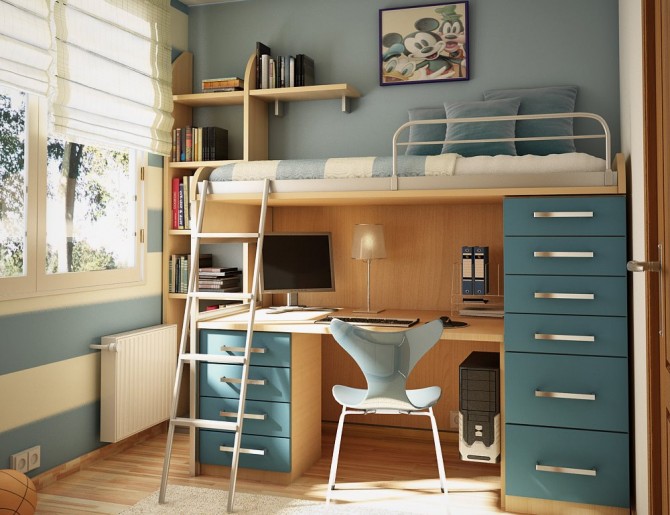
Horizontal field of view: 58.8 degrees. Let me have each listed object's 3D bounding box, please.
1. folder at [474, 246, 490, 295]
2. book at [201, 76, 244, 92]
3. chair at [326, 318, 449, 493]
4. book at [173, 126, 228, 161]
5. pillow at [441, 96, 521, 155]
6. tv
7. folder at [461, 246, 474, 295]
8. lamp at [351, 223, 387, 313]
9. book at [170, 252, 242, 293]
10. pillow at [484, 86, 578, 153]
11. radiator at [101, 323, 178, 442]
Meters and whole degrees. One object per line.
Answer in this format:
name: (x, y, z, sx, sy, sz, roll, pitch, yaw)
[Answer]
folder: (0.916, 0.088, 3.698, 0.103, 0.295, 0.059, -2, 7, -16)
book: (-0.815, -1.258, 4.348, 0.214, 0.047, 0.192, 0, 2, 15)
chair: (0.320, 0.818, 3.423, 0.676, 1.049, 0.676, 0, 7, 5)
book: (-1.001, -0.822, 4.444, 0.430, 0.306, 0.255, 2, 3, 12)
pillow: (0.935, -0.810, 3.748, 0.492, 0.470, 0.217, 0, -6, 18)
tv: (-0.252, 0.087, 3.982, 0.586, 0.547, 0.182, 0, -5, -9)
folder: (0.855, 0.089, 3.751, 0.067, 0.315, 0.117, 1, 6, 36)
lamp: (0.229, 0.072, 3.990, 0.215, 0.577, 0.343, 0, 7, 2)
book: (-0.957, 0.118, 4.303, 0.418, 0.186, 0.305, 0, -1, 3)
pillow: (1.246, -0.845, 3.732, 0.494, 0.433, 0.175, -2, -11, 18)
radiator: (-1.323, 0.835, 3.946, 0.142, 0.759, 0.846, 3, 4, 24)
